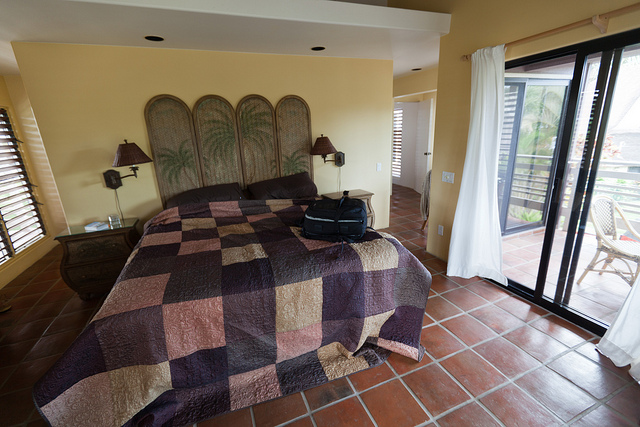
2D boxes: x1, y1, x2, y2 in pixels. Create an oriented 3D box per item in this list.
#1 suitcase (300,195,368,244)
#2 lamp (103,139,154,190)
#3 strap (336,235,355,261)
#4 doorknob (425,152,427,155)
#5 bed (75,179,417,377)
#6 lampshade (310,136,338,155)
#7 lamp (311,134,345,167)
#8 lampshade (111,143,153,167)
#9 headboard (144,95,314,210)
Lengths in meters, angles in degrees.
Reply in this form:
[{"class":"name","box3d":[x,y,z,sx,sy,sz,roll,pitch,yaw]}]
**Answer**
[{"class":"suitcase","box3d":[0.187,-0.037,4.121,0.570,0.369,0.539,3,19,9]},{"class":"lamp","box3d":[-2.398,-0.602,4.771,0.637,0.599,0.478,-5,13,8]},{"class":"strap","box3d":[0.273,0.324,3.898,0.132,0.184,0.067,10,-12,-13]},{"class":"doorknob","box3d":[2.221,-1.264,7.995,0.050,0.042,0.047,-14,26,-23]},{"class":"bed","box3d":[-0.553,0.455,4.612,3.637,1.404,2.642,-7,18,-10]},{"class":"lampshade","box3d":[0.039,-0.962,5.424,0.282,0.184,0.283,-6,16,-15]},{"class":"lamp","box3d":[0.119,-0.913,5.610,0.566,0.487,0.349,-12,13,-42]},{"class":"lampshade","box3d":[-2.293,-0.741,4.622,0.310,0.190,0.324,12,21,43]},{"class":"headboard","box3d":[-1.316,-0.822,5.103,1.722,1.318,0.068,-9,28,-17]}]
